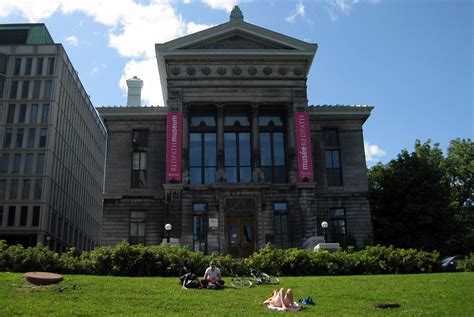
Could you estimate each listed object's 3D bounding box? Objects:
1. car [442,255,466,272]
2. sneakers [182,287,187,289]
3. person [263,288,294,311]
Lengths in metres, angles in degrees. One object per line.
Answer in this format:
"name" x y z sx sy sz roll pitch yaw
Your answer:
"car" 21.233 10.325 47.940 2.860 1.317 1.632 5 -15 -9
"sneakers" -3.702 9.067 34.040 0.130 0.166 0.423 12 -25 -43
"person" 2.649 8.965 30.912 1.109 0.745 1.666 10 -25 -27
